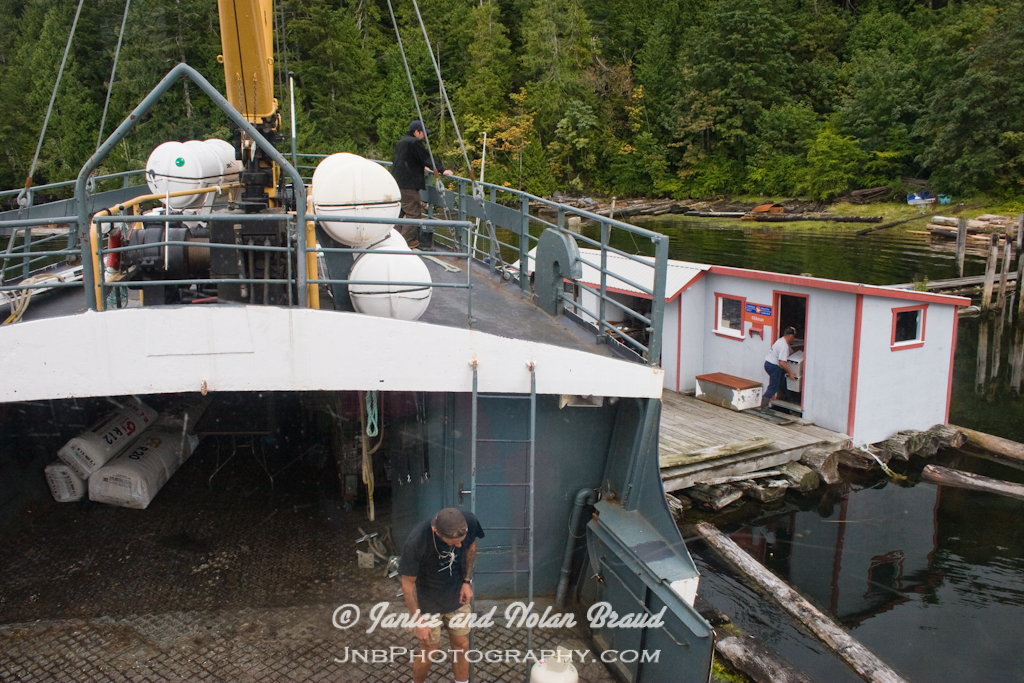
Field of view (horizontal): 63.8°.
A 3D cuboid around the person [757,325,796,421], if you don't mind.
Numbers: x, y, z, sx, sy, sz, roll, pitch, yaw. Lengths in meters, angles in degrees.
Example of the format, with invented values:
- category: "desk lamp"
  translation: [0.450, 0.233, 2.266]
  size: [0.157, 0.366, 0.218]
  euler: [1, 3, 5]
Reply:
- category: "person"
  translation: [5.772, 0.607, 17.879]
  size: [0.637, 1.908, 0.697]
  euler: [1, 12, 10]
